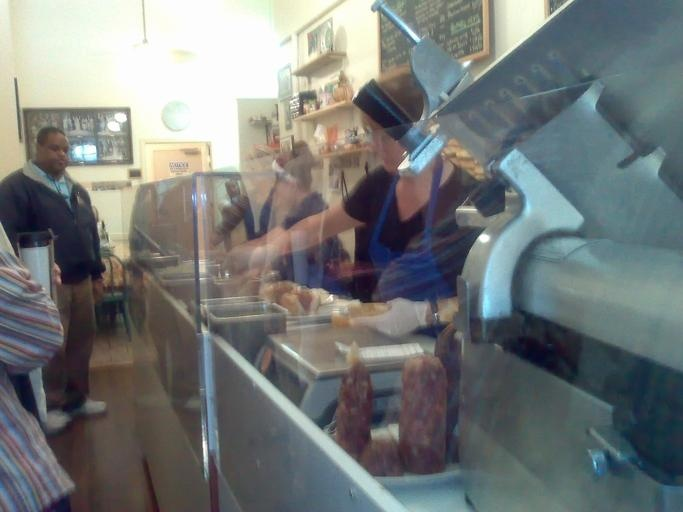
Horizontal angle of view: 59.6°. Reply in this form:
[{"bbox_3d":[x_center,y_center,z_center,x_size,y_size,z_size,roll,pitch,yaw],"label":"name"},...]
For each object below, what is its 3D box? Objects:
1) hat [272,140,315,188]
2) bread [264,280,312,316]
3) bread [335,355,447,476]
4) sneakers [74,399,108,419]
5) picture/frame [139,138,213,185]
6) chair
[{"bbox_3d":[-0.068,-0.132,0.924,0.067,0.088,0.080,-1,2,-23],"label":"hat"},{"bbox_3d":[-0.076,0.064,0.861,0.050,0.016,0.052,31,15,19],"label":"bread"},{"bbox_3d":[0.045,0.146,0.547,0.109,0.104,0.041,2,9,37],"label":"bread"},{"bbox_3d":[-1.324,0.802,3.129,0.133,0.063,0.078,-4,9,-15],"label":"sneakers"},{"bbox_3d":[-1.593,-0.938,5.782,0.663,0.354,0.210,-6,8,-17],"label":"picture/frame"},{"bbox_3d":[-1.417,0.274,3.669,0.358,0.601,0.586,1,0,-22],"label":"chair"}]
